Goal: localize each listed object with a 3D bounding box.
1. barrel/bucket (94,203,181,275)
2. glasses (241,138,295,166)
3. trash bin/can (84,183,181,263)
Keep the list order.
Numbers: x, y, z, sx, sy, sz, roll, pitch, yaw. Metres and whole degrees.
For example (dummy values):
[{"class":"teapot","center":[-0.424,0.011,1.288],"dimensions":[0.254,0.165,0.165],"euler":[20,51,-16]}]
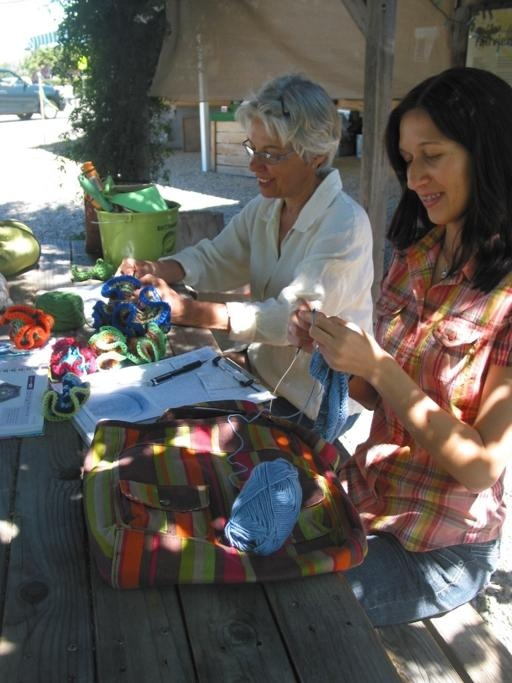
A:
[{"class":"barrel/bucket","center":[-0.519,-0.492,2.509],"dimensions":[0.350,0.250,0.334],"euler":[0,25,0]},{"class":"glasses","center":[0.041,-0.669,1.956],"dimensions":[0.164,0.048,0.160],"euler":[-13,39,-32]},{"class":"trash bin/can","center":[-0.562,-0.566,2.543],"dimensions":[0.396,0.277,0.363],"euler":[-5,31,-10]}]
